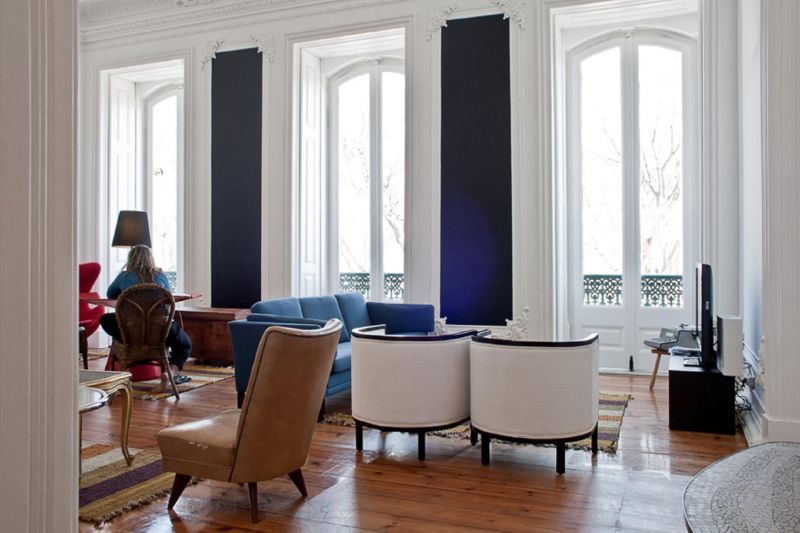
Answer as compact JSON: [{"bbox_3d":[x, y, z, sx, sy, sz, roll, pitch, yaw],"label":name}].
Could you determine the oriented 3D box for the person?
[{"bbox_3d":[-2.584,0.705,6.161,0.638,1.194,0.761,-3,9,-33],"label":"person"}]

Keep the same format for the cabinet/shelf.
[{"bbox_3d":[2.564,0.936,5.161,0.425,0.427,0.851,1,-1,16],"label":"cabinet/shelf"}]
